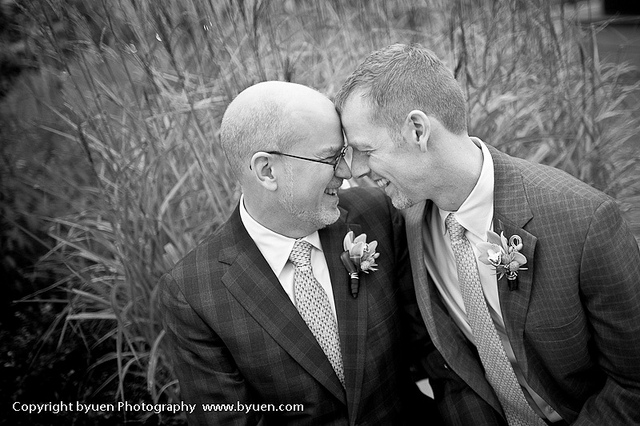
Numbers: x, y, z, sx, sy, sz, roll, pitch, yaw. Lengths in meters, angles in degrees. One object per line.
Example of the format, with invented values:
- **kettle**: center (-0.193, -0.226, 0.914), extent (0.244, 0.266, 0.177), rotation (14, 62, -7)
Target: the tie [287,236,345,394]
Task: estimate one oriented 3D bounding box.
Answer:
- **tie**: center (-0.018, 0.553, 3.095), extent (0.261, 0.801, 0.062), rotation (-13, -16, -11)
